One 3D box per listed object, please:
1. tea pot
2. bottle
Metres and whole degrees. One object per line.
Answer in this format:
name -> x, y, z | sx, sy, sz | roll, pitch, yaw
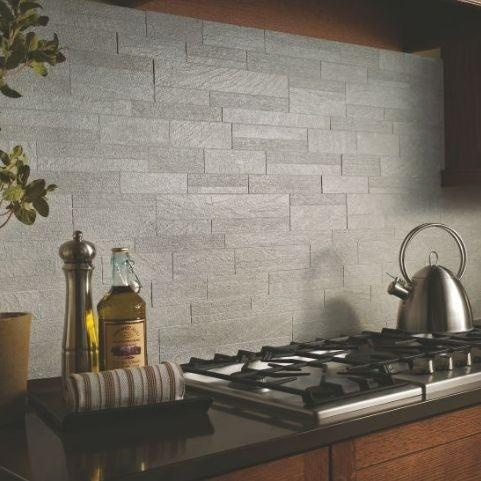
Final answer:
tea pot -> 0.647, 0.128, 1.739 | 0.308, 0.344, 0.196 | -2, 2, -33
bottle -> -0.243, 0.147, 1.071 | 0.101, 0.242, 0.227 | -2, 1, -12
